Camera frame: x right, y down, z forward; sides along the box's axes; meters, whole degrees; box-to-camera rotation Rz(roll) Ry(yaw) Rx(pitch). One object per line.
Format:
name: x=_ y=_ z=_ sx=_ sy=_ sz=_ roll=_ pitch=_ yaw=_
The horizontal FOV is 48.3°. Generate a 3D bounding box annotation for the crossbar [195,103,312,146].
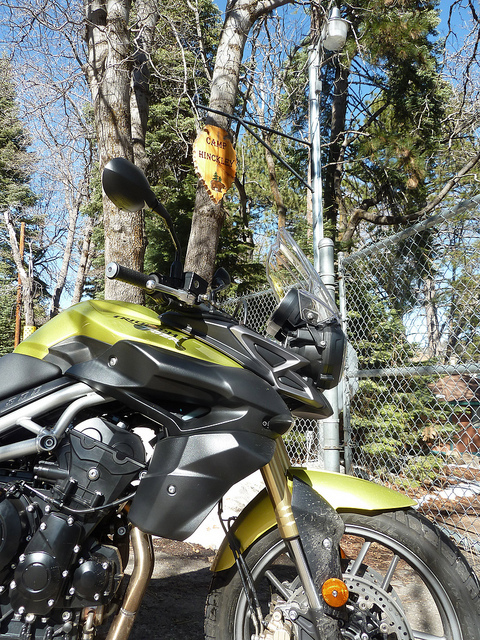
crossbar: x=0.108 y=-2.008 z=5.504 sx=1.405 sy=0.046 sz=0.090 roll=21 pitch=-7 yaw=9

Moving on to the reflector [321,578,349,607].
reflector: x=0.224 y=0.657 z=1.281 sx=0.062 sy=0.063 sz=0.030 roll=4 pitch=0 yaw=8

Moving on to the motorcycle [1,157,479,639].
motorcycle: x=-0.040 y=0.254 z=1.578 sx=1.320 sy=1.252 sz=0.649 roll=4 pitch=0 yaw=-2
